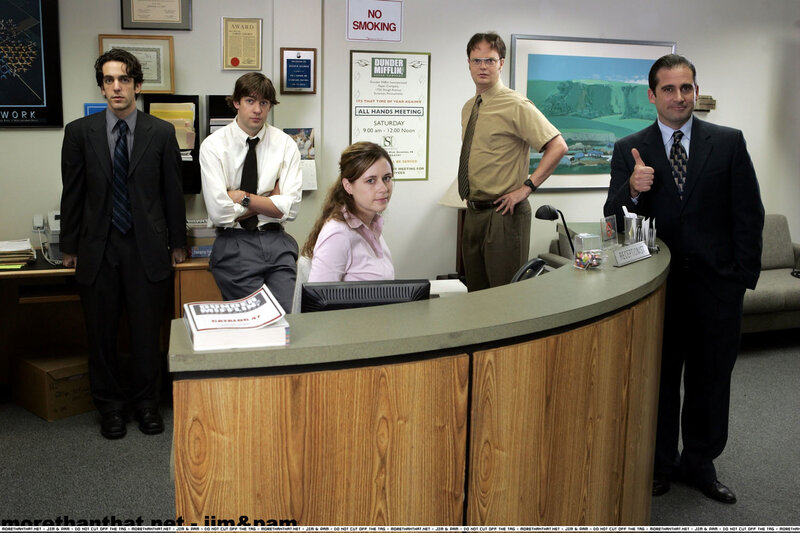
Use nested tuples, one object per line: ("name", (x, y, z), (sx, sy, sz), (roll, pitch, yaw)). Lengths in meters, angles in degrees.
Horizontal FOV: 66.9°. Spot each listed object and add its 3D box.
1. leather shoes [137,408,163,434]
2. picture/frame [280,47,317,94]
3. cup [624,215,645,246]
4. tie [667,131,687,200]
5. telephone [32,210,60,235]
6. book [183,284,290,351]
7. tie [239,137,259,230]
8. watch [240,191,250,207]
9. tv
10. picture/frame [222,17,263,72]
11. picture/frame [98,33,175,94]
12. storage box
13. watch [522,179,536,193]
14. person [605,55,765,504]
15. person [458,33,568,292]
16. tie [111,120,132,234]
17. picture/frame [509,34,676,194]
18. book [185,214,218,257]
("leather shoes", (-1.702, 1.059, 4.125), (0.100, 0.111, 0.271), (-3, 7, -31))
("picture/frame", (-0.828, -1.624, 4.833), (0.351, 0.410, 0.031), (-1, 5, -17))
("cup", (1.200, -0.209, 3.123), (0.150, 0.142, 0.083), (-12, 16, -40))
("tie", (1.506, -0.579, 3.266), (0.099, 0.350, 0.071), (8, 14, 40))
("telephone", (-2.520, -0.356, 4.299), (0.187, 0.138, 0.324), (-3, 8, -29))
("book", (-0.572, 0.176, 2.107), (0.331, 0.157, 0.267), (-6, 14, -20))
("tie", (-1.028, -0.587, 4.101), (0.124, 0.617, 0.166), (-1, 11, 2))
("watch", (-1.019, -0.454, 3.982), (0.054, 0.089, 0.080), (2, -1, -23))
("tv", (-0.140, 0.106, 2.442), (0.520, 0.106, 0.068), (-3, 12, -5))
("picture/frame", (-1.237, -1.774, 4.679), (0.402, 0.539, 0.026), (-2, 8, -21))
("picture/frame", (-1.889, -1.492, 4.282), (0.573, 0.580, 0.063), (2, 8, -8))
("storage box", (-2.494, 0.800, 4.345), (0.445, 0.310, 0.440), (-2, 5, -39))
("watch", (0.890, -0.585, 4.178), (0.063, 0.047, 0.071), (45, -2, -39))
("person", (1.556, 0.082, 3.355), (0.743, 2.474, 0.318), (5, 12, 28))
("person", (0.745, -0.749, 4.266), (0.703, 1.838, 0.400), (3, 12, 20))
("tie", (-1.847, -0.610, 3.993), (0.120, 0.740, 0.139), (-2, 11, -1))
("picture/frame", (1.489, -1.329, 4.880), (1.649, 1.310, 0.056), (-2, 4, -16))
("book", (-1.478, -0.243, 4.563), (0.229, 0.279, 0.377), (-3, 9, -13))
